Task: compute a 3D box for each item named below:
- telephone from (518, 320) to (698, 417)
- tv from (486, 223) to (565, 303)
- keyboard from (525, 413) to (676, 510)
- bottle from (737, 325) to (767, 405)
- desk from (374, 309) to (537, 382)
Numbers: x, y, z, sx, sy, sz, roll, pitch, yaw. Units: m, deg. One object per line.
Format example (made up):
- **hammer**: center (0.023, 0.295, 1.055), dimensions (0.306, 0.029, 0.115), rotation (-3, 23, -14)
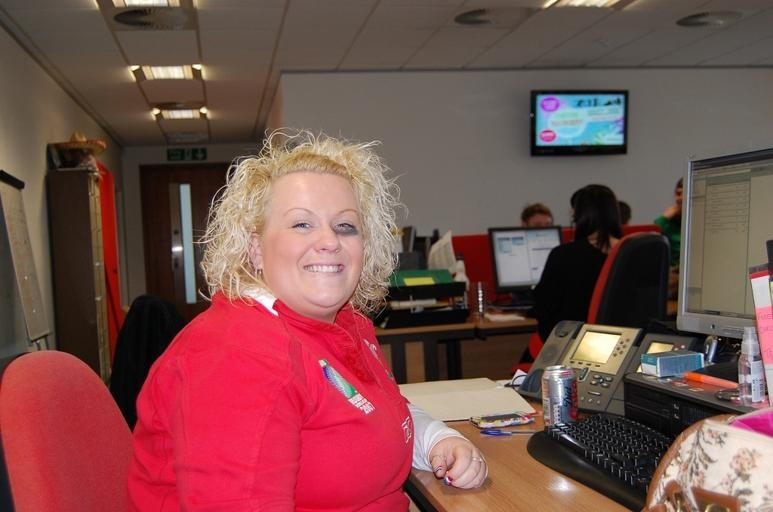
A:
- **telephone**: center (0.669, 0.334, 1.646), dimensions (0.315, 0.247, 0.620), rotation (-8, -2, -22)
- **tv**: center (0.947, 0.058, 3.737), dimensions (0.508, 0.526, 0.191), rotation (2, -15, -5)
- **keyboard**: center (0.538, 0.480, 1.356), dimensions (0.249, 0.107, 0.341), rotation (-2, 4, -33)
- **bottle**: center (0.853, 0.249, 1.269), dimensions (0.057, 0.157, 0.155), rotation (3, 4, 33)
- **desk**: center (0.331, 0.498, 3.206), dimensions (0.767, 0.466, 0.407), rotation (-3, 8, -10)
